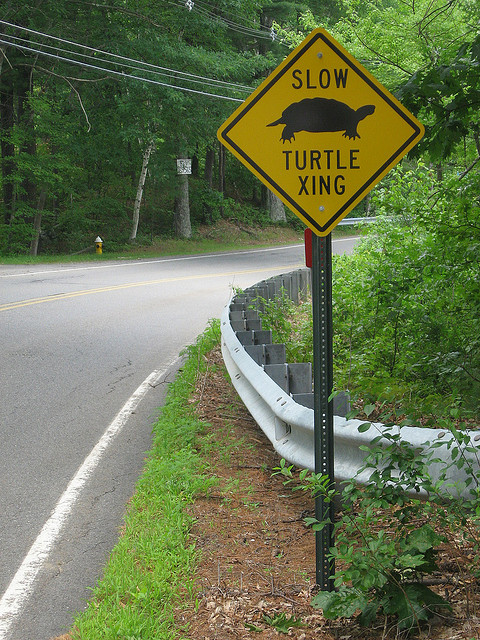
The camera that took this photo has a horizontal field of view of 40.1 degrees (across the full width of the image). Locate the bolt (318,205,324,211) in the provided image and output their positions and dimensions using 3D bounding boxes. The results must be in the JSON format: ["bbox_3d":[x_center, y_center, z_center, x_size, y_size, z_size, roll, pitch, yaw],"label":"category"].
[{"bbox_3d":[0.377,-0.523,3.079,0.018,0.018,0.021,48,9,18],"label":"bolt"}]

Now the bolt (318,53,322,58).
[{"bbox_3d":[0.362,-1.214,3.016,0.023,0.020,0.005,-5,6,15],"label":"bolt"}]
